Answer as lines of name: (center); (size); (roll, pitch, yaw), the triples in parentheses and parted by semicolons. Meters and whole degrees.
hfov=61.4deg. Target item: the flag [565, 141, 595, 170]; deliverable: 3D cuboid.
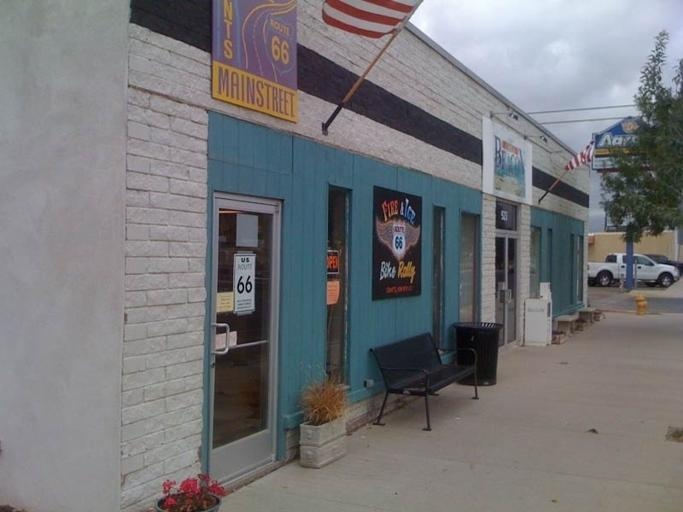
flag: (6.412, -2.685, 15.400); (0.666, 0.718, 1.176); (0, 1, 20)

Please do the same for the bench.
bench: (1.341, 1.810, 8.535); (0.868, 1.096, 2.415); (-2, -3, 28)

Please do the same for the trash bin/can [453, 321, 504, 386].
trash bin/can: (2.427, 1.737, 10.217); (0.908, 1.155, 1.017); (-2, -1, 11)

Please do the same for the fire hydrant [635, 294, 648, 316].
fire hydrant: (10.715, 1.736, 20.428); (0.294, 0.660, 0.368); (0, 2, 18)

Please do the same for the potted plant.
potted plant: (-0.239, 1.788, 6.723); (0.629, 1.085, 0.995); (0, -1, 22)

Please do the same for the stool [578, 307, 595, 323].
stool: (7.770, 1.880, 18.133); (0.410, 0.477, 1.265); (1, 1, 37)
